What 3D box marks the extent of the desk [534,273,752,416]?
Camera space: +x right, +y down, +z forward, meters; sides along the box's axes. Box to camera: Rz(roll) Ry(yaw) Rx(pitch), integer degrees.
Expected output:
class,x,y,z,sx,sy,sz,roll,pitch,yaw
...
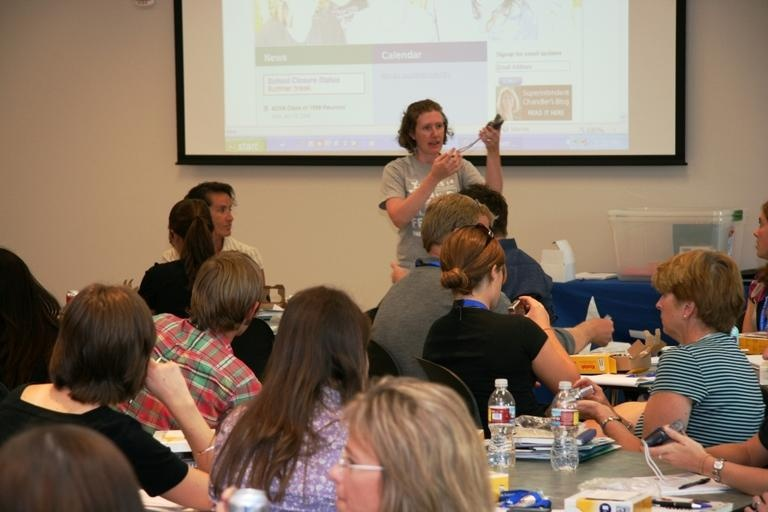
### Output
class,x,y,z,sx,sy,sz,roll,pitch,yaw
desk,1.688,0.393,4.190,0.962,0.732,0.941,-3,2,-45

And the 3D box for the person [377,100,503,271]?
class,x,y,z,sx,sy,sz,roll,pitch,yaw
person,0.344,-0.127,4.087,0.698,1.778,0.572,1,41,3

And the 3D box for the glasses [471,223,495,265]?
class,x,y,z,sx,sy,sz,roll,pitch,yaw
glasses,0.417,-0.050,2.536,0.038,0.124,0.114,14,5,-28

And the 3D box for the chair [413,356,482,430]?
class,x,y,z,sx,sy,sz,roll,pitch,yaw
chair,0.266,0.464,2.364,0.271,0.395,0.243,-1,0,9

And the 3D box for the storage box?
class,x,y,z,sx,sy,sz,roll,pitch,yaw
storage box,1.846,0.031,4.469,0.956,0.481,0.705,1,-23,-18
